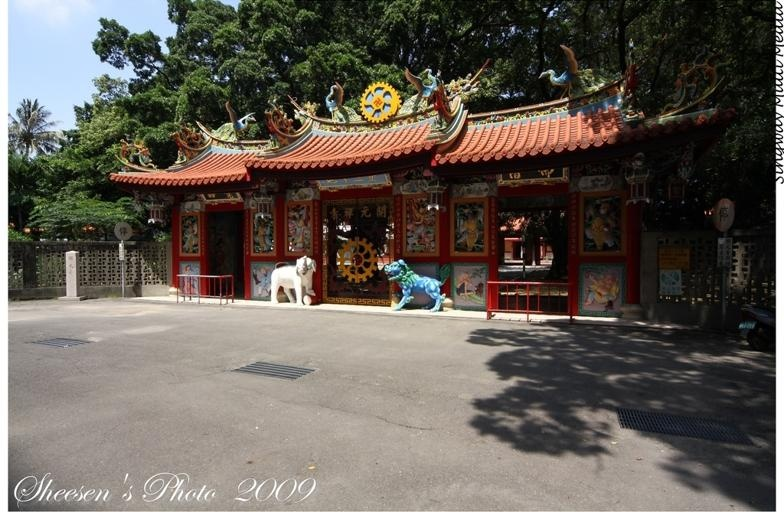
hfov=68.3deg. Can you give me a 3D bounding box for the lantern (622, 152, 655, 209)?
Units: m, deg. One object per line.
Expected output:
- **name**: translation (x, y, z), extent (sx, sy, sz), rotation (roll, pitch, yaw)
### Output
- **lantern**: translation (6.340, -2.006, 14.831), extent (0.560, 1.268, 0.752), rotation (0, 6, 6)

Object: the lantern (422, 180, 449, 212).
- **lantern**: translation (1.280, -1.785, 16.642), extent (0.429, 0.896, 0.650), rotation (3, 7, 29)

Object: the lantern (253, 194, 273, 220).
- **lantern**: translation (-4.130, -1.607, 18.614), extent (0.557, 0.769, 0.573), rotation (0, 6, 5)

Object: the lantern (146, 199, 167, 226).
- **lantern**: translation (-8.189, -1.613, 20.071), extent (0.560, 0.807, 0.576), rotation (-3, 6, -25)
